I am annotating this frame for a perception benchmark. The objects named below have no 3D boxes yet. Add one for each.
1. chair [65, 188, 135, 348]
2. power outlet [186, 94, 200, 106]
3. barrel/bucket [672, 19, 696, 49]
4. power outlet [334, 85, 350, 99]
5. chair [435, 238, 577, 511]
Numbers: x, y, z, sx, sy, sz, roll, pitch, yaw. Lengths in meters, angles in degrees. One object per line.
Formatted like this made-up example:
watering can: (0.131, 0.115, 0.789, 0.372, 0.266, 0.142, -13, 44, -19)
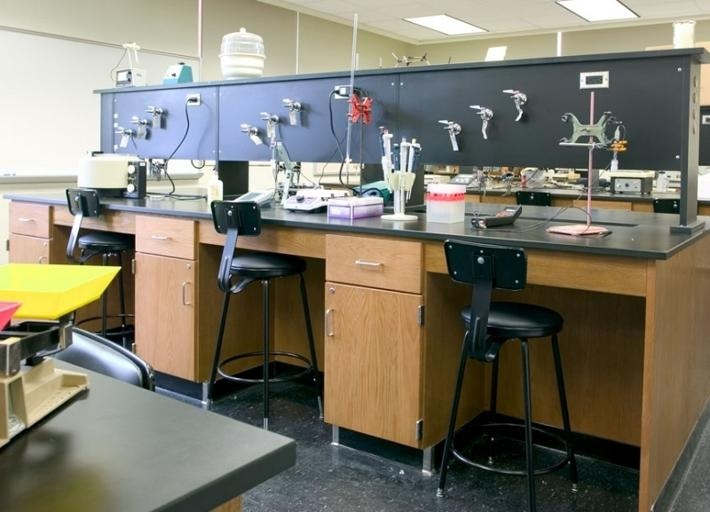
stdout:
chair: (-1.533, 0.154, 3.605, 0.481, 0.957, 0.356, 6, 2, -34)
power outlet: (-1.044, -0.999, 3.820, 0.118, 0.071, 0.025, 9, 17, 37)
barrel/bucket: (1.518, -1.021, 2.742, 0.080, 0.124, 0.182, 4, 15, 25)
power outlet: (-0.077, -0.877, 3.201, 0.119, 0.076, 0.030, 9, 17, 38)
chair: (0.610, 0.435, 2.368, 0.544, 1.081, 0.628, 6, 16, 30)
